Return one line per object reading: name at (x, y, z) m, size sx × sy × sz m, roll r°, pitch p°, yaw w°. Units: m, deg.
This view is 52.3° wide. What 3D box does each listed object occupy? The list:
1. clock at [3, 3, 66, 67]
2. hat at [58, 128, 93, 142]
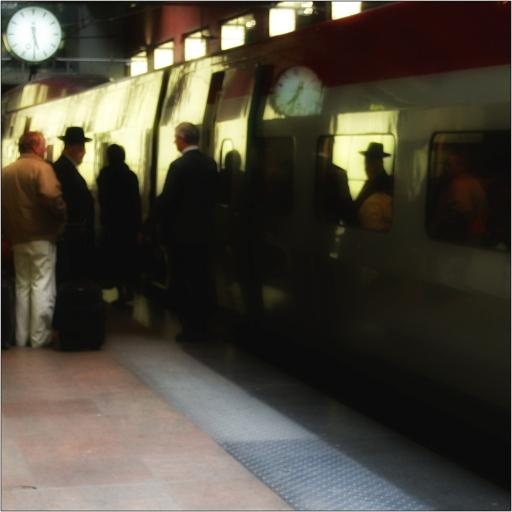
clock at (-1.119, -1.122, 2.633) m, size 0.293 × 0.283 × 0.080 m, roll 4°, pitch 9°, yaw 11°
hat at (-0.986, -0.662, 2.856) m, size 0.094 × 0.046 × 0.110 m, roll 5°, pitch 8°, yaw 35°
